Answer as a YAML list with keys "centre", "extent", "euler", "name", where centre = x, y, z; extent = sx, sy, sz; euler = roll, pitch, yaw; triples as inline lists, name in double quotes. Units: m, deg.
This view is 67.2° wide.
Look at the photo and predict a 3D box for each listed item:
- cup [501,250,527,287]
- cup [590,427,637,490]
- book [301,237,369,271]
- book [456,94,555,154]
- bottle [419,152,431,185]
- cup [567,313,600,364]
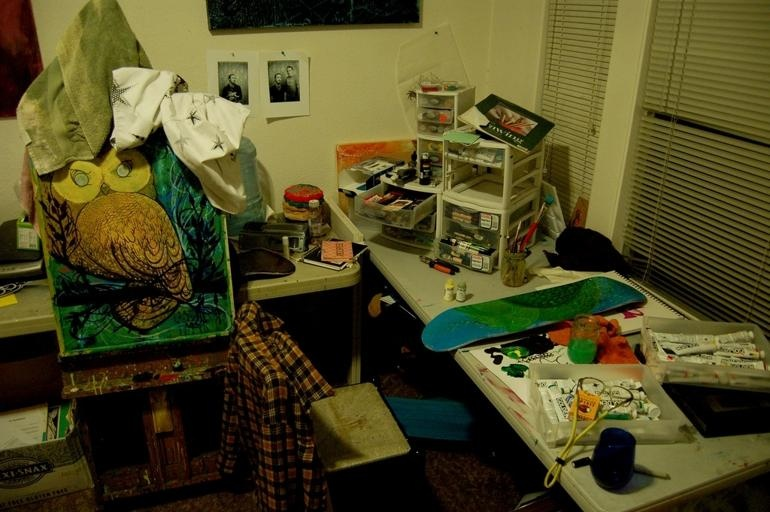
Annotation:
- centre: [0.621, 0.067, 2.818]
  extent: [0.119, 0.157, 0.114]
  euler: [-3, 25, 2]
  name: "cup"
- centre: [0.814, 0.701, 2.025]
  extent: [0.193, 0.150, 0.171]
  euler: [0, 26, 0]
  name: "cup"
- centre: [-0.269, 0.000, 2.962]
  extent: [0.200, 0.045, 0.196]
  euler: [8, 36, 18]
  name: "book"
- centre: [0.664, -0.699, 2.915]
  extent: [0.081, 0.301, 0.402]
  euler: [-42, 34, -22]
  name: "book"
- centre: [0.217, -0.469, 3.137]
  extent: [0.059, 0.147, 0.096]
  euler: [1, 26, 2]
  name: "bottle"
- centre: [0.816, 0.351, 2.395]
  extent: [0.114, 0.167, 0.115]
  euler: [-3, 30, 2]
  name: "cup"
